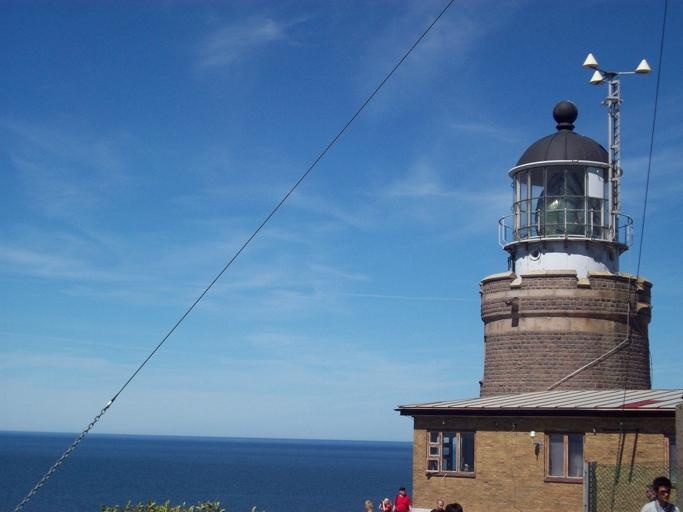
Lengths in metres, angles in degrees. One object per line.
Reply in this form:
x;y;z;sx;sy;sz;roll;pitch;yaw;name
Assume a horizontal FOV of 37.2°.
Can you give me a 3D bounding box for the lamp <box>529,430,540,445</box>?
9.327;8.795;48.942;0.480;0.609;0.250;0;-24;15;lamp
